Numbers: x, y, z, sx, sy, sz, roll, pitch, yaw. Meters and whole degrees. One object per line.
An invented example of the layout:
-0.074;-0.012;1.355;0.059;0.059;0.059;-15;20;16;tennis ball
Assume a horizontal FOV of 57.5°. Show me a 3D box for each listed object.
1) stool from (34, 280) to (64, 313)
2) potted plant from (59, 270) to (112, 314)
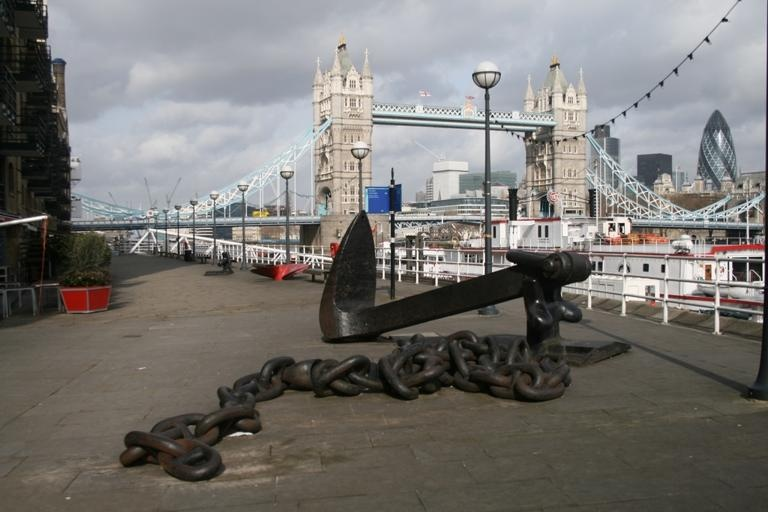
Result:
-8.035;0.978;16.830;0.701;0.683;0.518;0;5;-16;stool
-6.699;0.839;15.508;0.946;0.782;0.770;-9;5;26;potted plant
